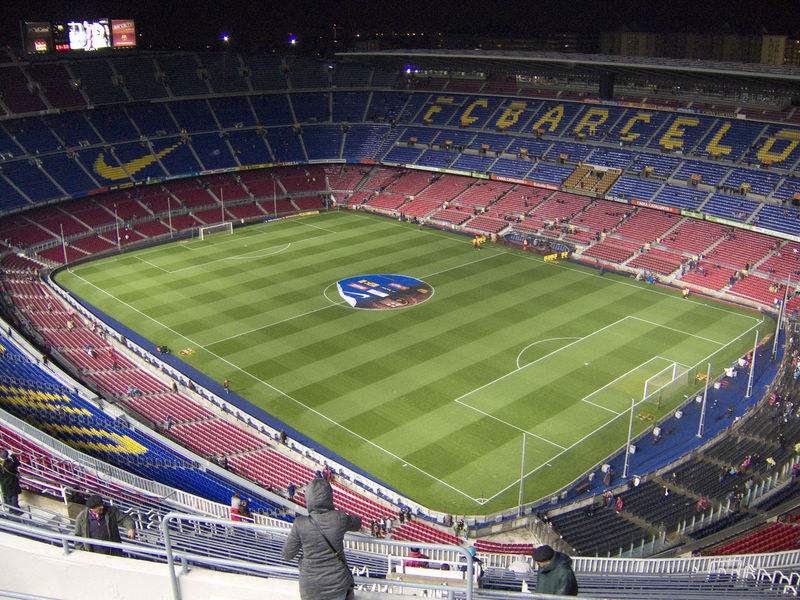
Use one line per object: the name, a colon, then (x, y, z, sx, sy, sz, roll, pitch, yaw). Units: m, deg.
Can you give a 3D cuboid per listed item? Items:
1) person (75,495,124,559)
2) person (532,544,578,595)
person: (-7.062, 5.271, 17.367, 1.041, 1.385, 1.537, 5, -22, -14)
person: (3.265, 5.714, 15.632, 0.809, 1.005, 0.672, -3, -24, 5)
